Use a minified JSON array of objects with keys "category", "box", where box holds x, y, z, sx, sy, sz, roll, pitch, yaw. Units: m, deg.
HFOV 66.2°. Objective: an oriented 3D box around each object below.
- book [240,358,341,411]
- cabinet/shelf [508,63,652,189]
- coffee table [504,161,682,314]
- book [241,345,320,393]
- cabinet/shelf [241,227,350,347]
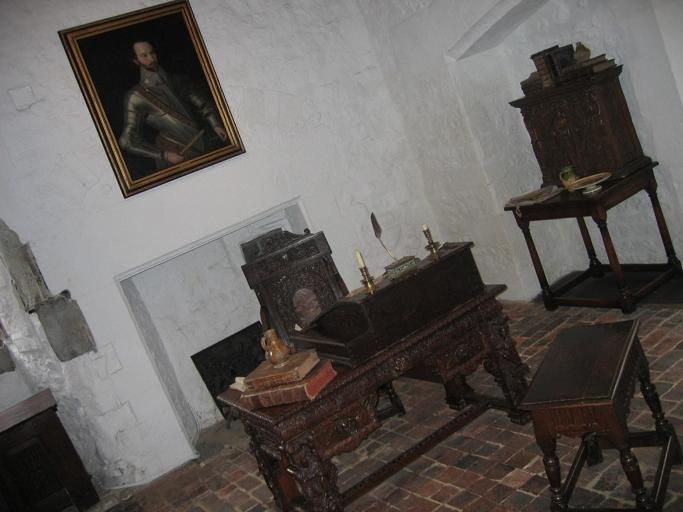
[{"category":"book","box":[-0.400,0.985,3.893,0.758,0.265,0.262,-18,8,2]},{"category":"cabinet/shelf","box":[2.822,-1.454,6.162,0.548,1.132,1.192,-33,18,-23]},{"category":"coffee table","box":[3.189,-0.254,6.508,1.774,1.675,1.748,-27,14,-35]},{"category":"book","box":[-0.451,0.886,4.100,0.596,0.119,0.591,-17,5,-3]},{"category":"cabinet/shelf","box":[-0.544,0.258,6.374,1.022,1.631,0.582,-26,39,-8]}]
